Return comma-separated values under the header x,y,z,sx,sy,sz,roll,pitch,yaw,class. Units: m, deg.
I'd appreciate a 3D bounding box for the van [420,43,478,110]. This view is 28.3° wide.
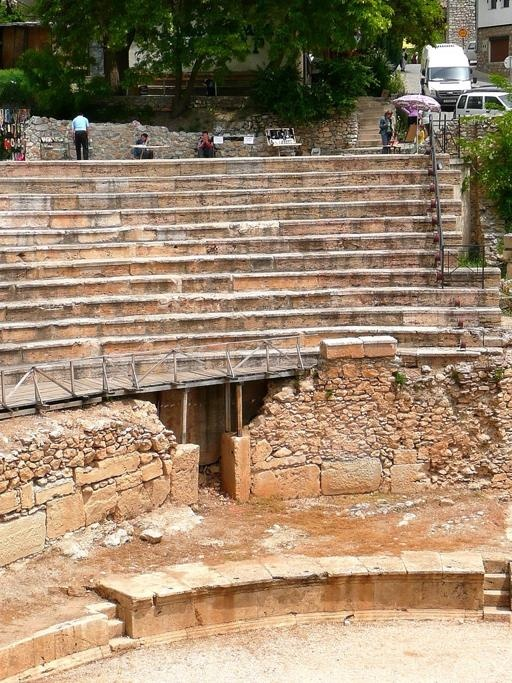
x,y,z,sx,sy,sz,roll,pitch,yaw,class
5.098,-7.166,27.314,1.063,1.396,2.744,0,19,5,van

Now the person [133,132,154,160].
x,y,z,sx,sy,sz,roll,pitch,yaw,class
-2.305,-3.967,20.677,0.371,0.508,1.419,4,12,-9,person

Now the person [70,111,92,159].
x,y,z,sx,sy,sz,roll,pitch,yaw,class
-3.365,-3.904,19.449,0.315,0.812,1.127,4,12,-11,person
